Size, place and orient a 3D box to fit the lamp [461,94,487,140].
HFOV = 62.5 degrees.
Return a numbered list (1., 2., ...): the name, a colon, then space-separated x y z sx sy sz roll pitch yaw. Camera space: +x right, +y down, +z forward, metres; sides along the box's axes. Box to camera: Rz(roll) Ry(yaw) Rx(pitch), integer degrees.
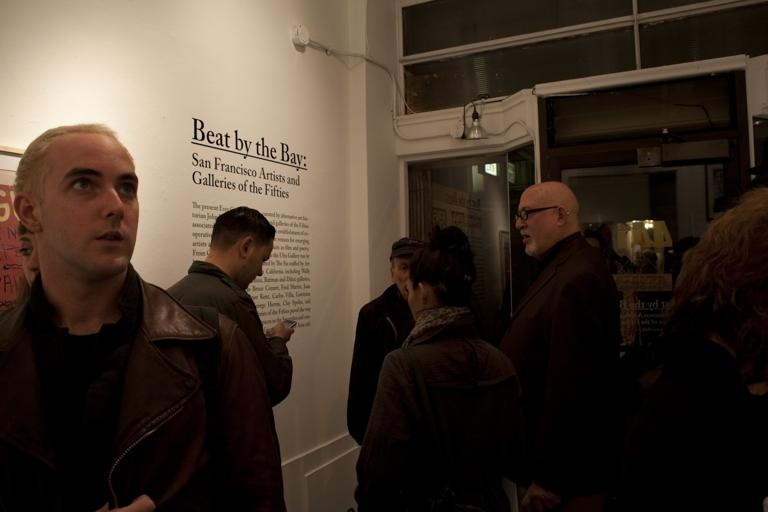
1. lamp: 0.840 -1.258 5.694 0.253 0.393 0.259 -2 1 -17
